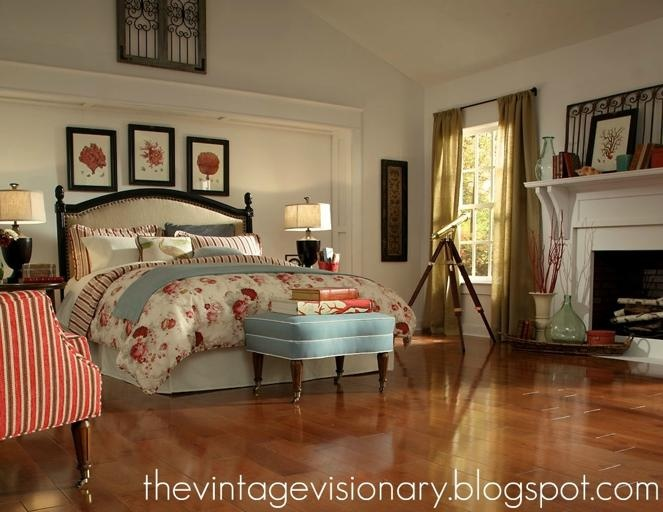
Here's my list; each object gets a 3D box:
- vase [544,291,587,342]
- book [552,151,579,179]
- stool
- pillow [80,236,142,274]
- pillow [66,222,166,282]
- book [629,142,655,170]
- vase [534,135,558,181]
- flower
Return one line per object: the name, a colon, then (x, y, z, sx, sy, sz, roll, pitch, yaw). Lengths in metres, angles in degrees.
vase: (2.363, 0.611, 5.074, 0.438, 0.601, 0.431, 0, 1, -22)
book: (2.433, -0.927, 5.075, 0.310, 0.301, 0.172, 3, 3, 1)
stool: (-0.116, 0.531, 3.259, 0.801, 0.523, 0.615, 2, -5, -35)
pillow: (-2.108, -0.002, 4.645, 0.324, 0.222, 0.114, -6, -31, -18)
pillow: (-2.061, -0.023, 4.595, 0.590, 0.413, 0.115, 1, -6, -32)
book: (2.905, -0.922, 4.575, 0.207, 0.208, 0.213, 3, -1, 16)
vase: (2.338, -1.057, 5.277, 0.223, 0.483, 0.227, 7, 33, 30)
flower: (2.363, -0.027, 5.332, 0.322, 0.918, 0.537, 2, 7, 12)
